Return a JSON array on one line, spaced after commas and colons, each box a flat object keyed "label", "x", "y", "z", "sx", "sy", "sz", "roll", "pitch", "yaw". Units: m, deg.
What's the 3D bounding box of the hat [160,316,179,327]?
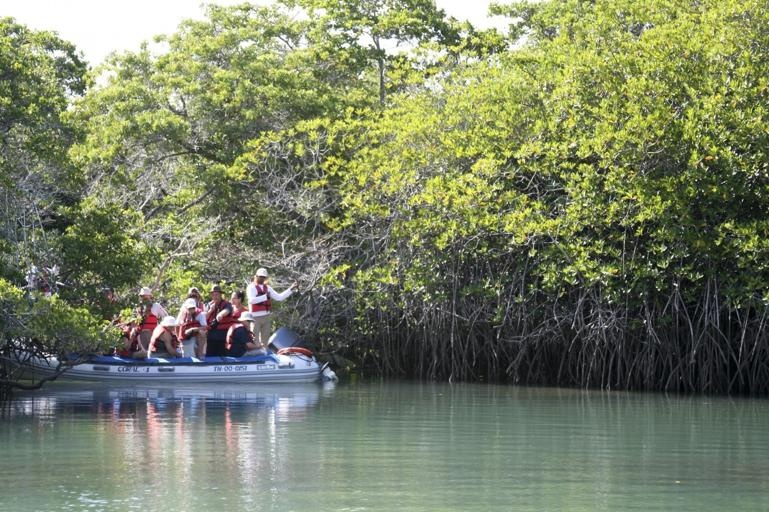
[{"label": "hat", "x": -5.558, "y": 1.701, "z": 23.886, "sx": 0.394, "sy": 0.244, "sz": 0.427, "roll": 4, "pitch": -14, "yaw": -26}]

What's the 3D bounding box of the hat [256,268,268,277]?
[{"label": "hat", "x": -3.236, "y": 0.441, "z": 24.196, "sx": 0.237, "sy": 0.199, "sz": 0.342, "roll": 3, "pitch": -14, "yaw": -7}]

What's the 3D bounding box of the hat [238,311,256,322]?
[{"label": "hat", "x": -3.616, "y": 1.597, "z": 24.091, "sx": 0.431, "sy": 0.273, "sz": 0.288, "roll": 2, "pitch": -12, "yaw": -19}]

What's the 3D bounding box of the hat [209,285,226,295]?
[{"label": "hat", "x": -4.235, "y": 0.899, "z": 23.536, "sx": 0.280, "sy": 0.144, "sz": 0.294, "roll": 7, "pitch": -4, "yaw": -19}]

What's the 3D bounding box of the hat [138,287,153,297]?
[{"label": "hat", "x": -6.053, "y": 0.929, "z": 23.395, "sx": 0.269, "sy": 0.297, "sz": 0.475, "roll": 2, "pitch": -13, "yaw": -20}]
